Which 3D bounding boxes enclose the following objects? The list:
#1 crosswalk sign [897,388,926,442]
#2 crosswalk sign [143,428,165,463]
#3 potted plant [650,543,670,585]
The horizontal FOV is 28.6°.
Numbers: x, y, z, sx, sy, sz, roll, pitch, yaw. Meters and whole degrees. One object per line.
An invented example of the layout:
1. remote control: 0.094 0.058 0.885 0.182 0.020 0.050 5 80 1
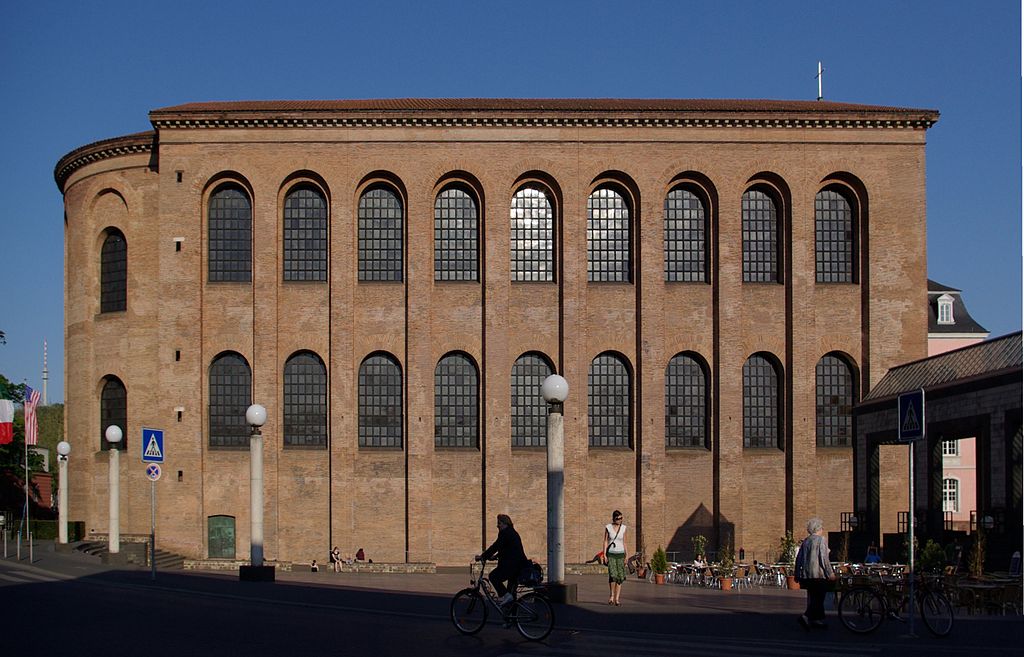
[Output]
1. crosswalk sign: 14.805 3.206 74.668 0.648 1.929 1.333 3 -12 -12
2. crosswalk sign: -15.342 4.901 85.874 0.764 1.397 1.924 1 -11 -5
3. potted plant: 6.485 10.471 88.518 0.668 1.477 1.719 0 -11 3
